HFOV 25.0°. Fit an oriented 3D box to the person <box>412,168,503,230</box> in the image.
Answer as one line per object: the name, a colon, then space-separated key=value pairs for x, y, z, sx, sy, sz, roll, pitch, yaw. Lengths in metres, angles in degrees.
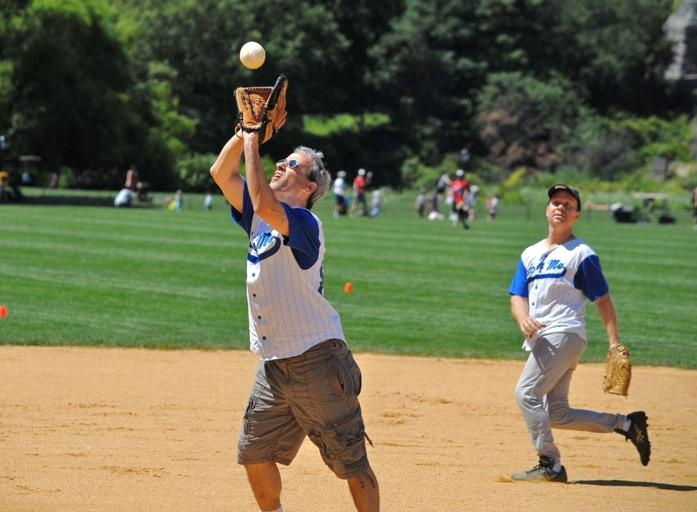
person: x=2.437 y=-1.398 z=38.140 sx=1.509 sy=1.439 sz=0.785 roll=2 pitch=3 yaw=14
